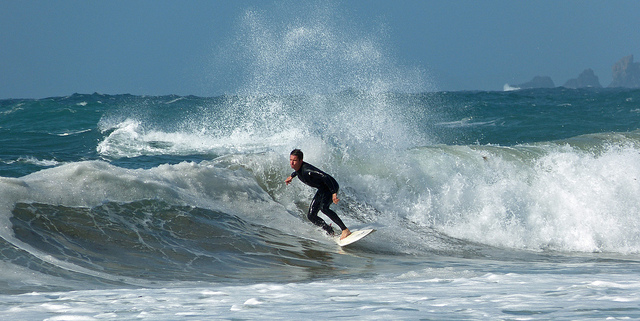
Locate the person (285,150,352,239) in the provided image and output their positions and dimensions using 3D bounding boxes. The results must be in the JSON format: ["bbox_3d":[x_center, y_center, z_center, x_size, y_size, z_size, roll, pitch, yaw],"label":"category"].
[{"bbox_3d":[-0.025,1.115,23.665,1.739,2.217,0.780,-2,-1,0],"label":"person"}]
